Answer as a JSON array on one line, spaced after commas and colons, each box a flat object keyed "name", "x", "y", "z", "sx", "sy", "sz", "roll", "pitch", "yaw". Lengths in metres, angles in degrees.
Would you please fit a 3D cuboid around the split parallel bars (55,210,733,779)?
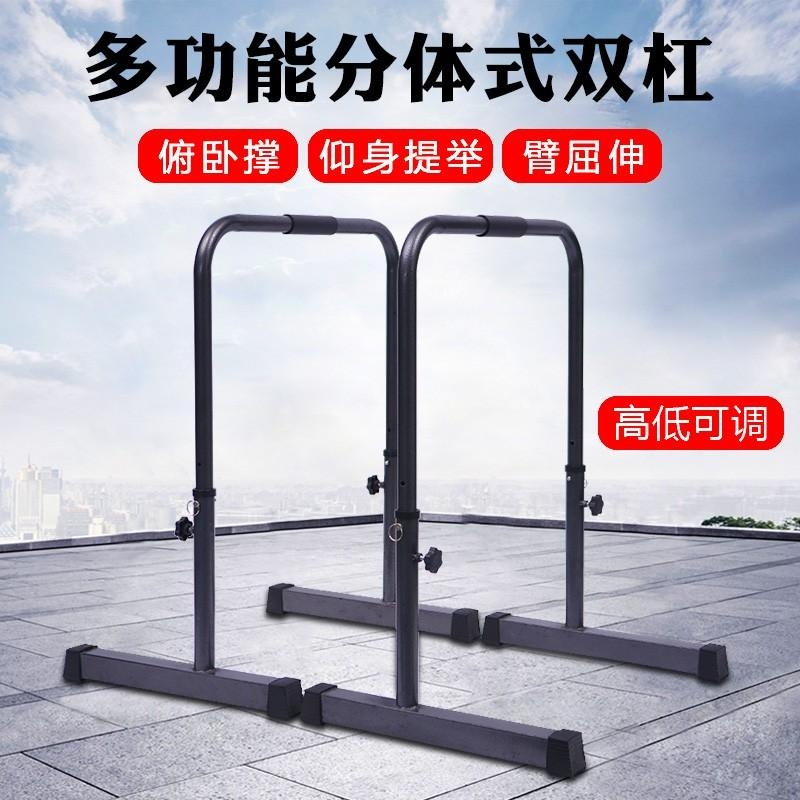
[{"name": "split parallel bars", "x": -0.120, "y": 0.208, "z": 4.105, "sx": 3.001, "sy": 2.767, "sz": 1.841, "roll": 2, "pitch": 3, "yaw": 40}]
